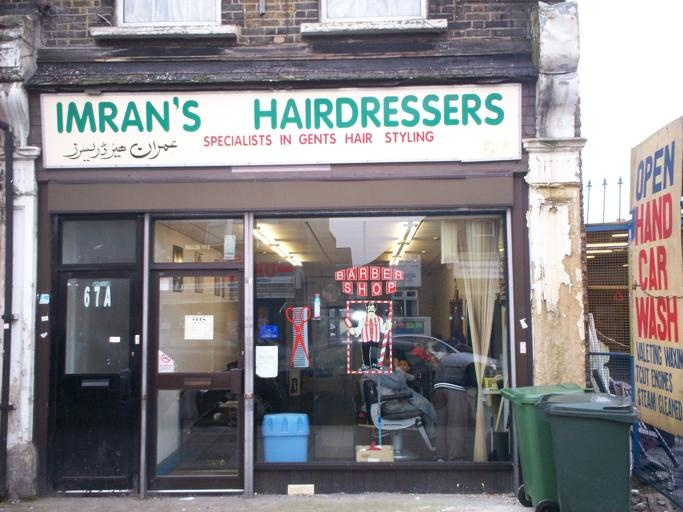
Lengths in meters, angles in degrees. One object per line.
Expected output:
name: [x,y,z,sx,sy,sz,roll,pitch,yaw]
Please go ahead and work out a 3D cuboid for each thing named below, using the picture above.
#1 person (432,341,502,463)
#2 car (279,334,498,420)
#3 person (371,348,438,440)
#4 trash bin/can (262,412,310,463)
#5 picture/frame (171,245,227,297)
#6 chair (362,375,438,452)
person: [1.478,1.881,11.859,0.586,1.542,0.163,0,-3,11]
car: [0.684,1.542,12.230,2.559,0.995,1.255,-2,-9,-8]
person: [0.844,1.761,11.963,0.865,1.270,0.877,-1,-11,6]
trash bin/can: [-0.715,2.390,11.859,0.551,0.627,0.598,0,-11,-1]
picture/frame: [-1.850,0.226,11.934,0.594,0.631,0.154,3,-4,-16]
chair: [0.825,2.105,12.179,0.889,1.148,0.838,-7,-2,25]
